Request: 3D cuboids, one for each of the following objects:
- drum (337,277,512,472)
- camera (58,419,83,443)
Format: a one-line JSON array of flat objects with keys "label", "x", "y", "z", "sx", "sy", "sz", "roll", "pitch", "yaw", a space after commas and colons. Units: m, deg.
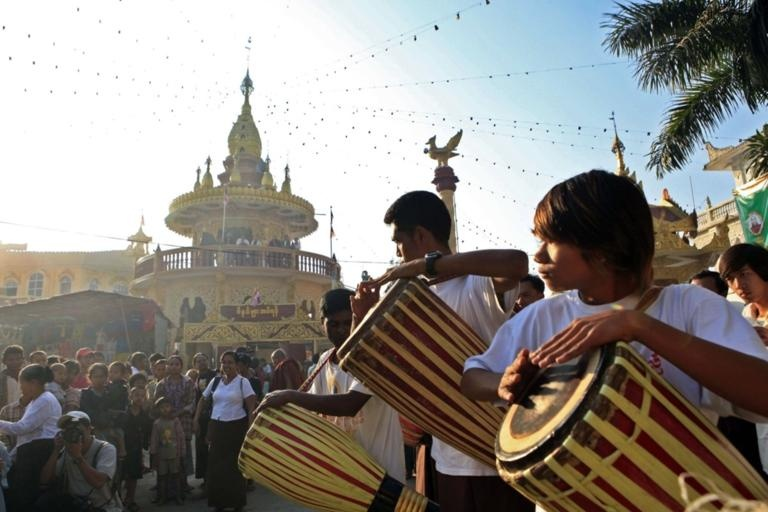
[{"label": "drum", "x": 0.378, "y": 1.018, "z": 6.874, "sx": 0.916, "sy": 1.417, "sz": 0.835, "roll": -49, "pitch": -4, "yaw": -4}, {"label": "camera", "x": -3.752, "y": 2.112, "z": 9.491, "sx": 0.255, "sy": 0.234, "sz": 0.132, "roll": -6, "pitch": 3, "yaw": -25}]
